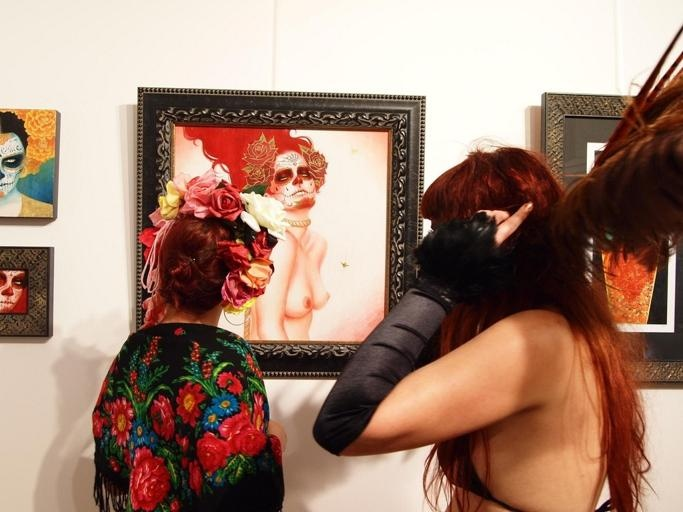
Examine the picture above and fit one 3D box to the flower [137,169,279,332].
[{"bbox_3d":[-0.424,-0.031,2.064,0.387,0.388,0.404,-1,20,-19],"label":"flower"}]
